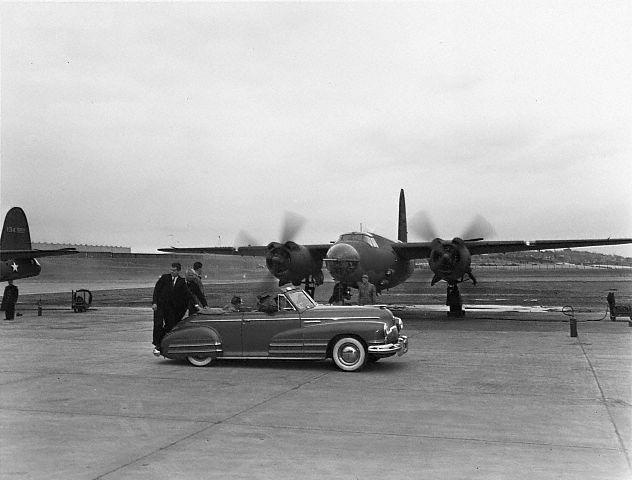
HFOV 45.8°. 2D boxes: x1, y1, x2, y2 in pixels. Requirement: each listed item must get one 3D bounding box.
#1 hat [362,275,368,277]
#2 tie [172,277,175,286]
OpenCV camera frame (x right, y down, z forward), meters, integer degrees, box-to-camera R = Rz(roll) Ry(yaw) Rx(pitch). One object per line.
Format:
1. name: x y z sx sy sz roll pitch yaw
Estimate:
1. hat: 1.452 1.074 22.563 0.218 0.058 0.232 0 1 2
2. tie: -2.934 0.846 15.316 0.111 0.165 0.042 2 -3 7
